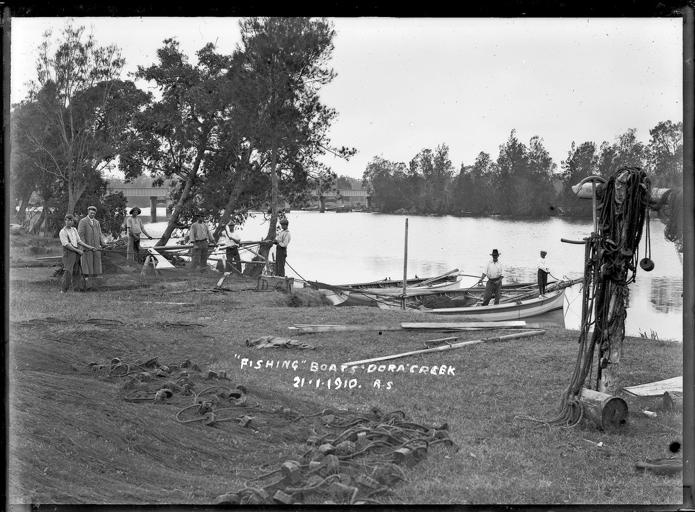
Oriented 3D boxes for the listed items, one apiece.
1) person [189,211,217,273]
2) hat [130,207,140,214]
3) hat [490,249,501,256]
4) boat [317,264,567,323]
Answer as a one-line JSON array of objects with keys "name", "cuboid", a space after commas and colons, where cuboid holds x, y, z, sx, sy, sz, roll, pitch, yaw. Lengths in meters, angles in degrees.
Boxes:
[{"name": "person", "cuboid": [-4.829, -0.471, 26.501, 0.765, 1.511, 1.816, 4, -2, -11]}, {"name": "hat", "cuboid": [-6.612, -1.434, 25.131, 0.363, 0.121, 0.381, -2, -1, -2]}, {"name": "hat", "cuboid": [4.723, -0.117, 26.026, 0.261, 0.166, 0.400, -2, -4, 10]}, {"name": "boat", "cuboid": [3.167, 1.328, 28.508, 6.852, 1.306, 1.866, 3, -4, -14]}]
